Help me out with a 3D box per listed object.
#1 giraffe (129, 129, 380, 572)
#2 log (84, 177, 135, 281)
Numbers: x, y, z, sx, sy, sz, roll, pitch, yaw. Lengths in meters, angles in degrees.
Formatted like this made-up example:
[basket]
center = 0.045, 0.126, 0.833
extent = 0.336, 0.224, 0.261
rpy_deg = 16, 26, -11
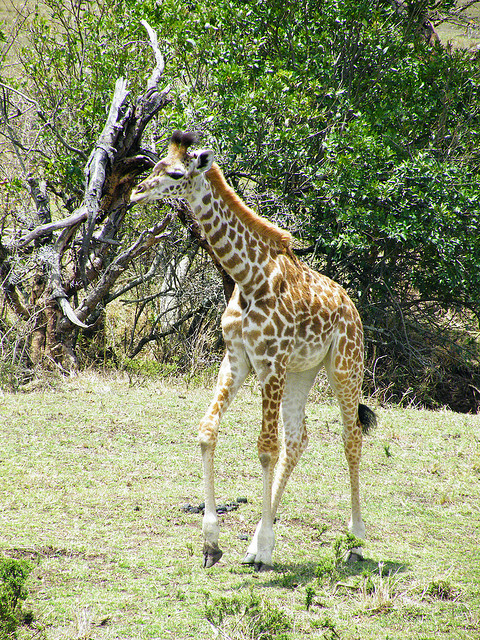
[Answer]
[giraffe]
center = 0.221, 0.297, 9.433
extent = 2.383, 2.802, 0.732
rpy_deg = 3, 3, -33
[log]
center = -1.735, -1.212, 13.403
extent = 0.265, 1.503, 0.171
rpy_deg = 15, -17, 38
